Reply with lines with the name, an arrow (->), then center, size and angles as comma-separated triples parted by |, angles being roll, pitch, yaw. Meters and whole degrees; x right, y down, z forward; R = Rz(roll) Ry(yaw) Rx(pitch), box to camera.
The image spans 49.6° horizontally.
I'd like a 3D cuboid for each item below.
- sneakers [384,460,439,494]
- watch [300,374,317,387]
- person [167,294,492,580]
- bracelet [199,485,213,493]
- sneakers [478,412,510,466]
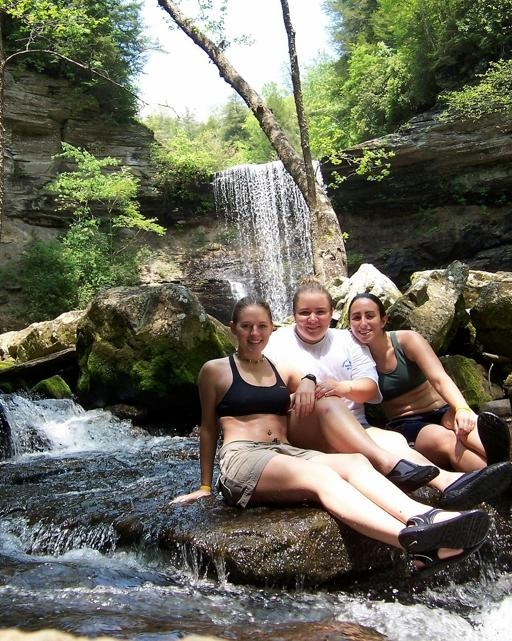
sneakers -> 0.669, 0.673, 2.407 | 0.247, 0.099, 0.092 | -10, 40, 46
watch -> 0.281, 0.304, 2.960 | 0.085, 0.067, 0.049 | 10, 20, -1
person -> 0.341, 0.412, 2.562 | 0.846, 1.039, 1.873 | 1, -5, -26
bracelet -> -0.263, 0.890, 2.943 | 0.042, 0.026, 0.039 | 1, 0, -22
sneakers -> 1.096, 0.540, 2.577 | 0.110, 0.288, 0.129 | 0, 18, 44
